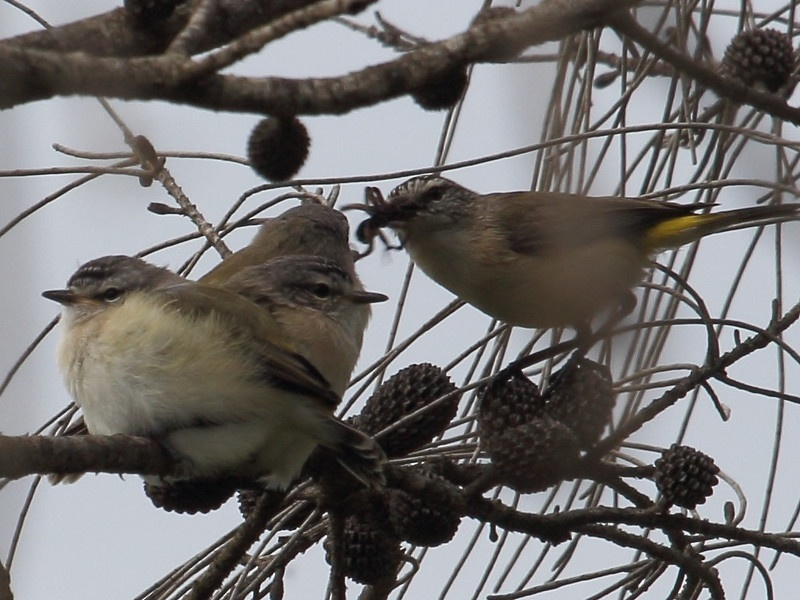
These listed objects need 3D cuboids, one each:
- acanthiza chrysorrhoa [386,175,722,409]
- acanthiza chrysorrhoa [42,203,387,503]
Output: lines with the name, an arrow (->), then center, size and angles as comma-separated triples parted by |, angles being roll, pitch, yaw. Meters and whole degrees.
acanthiza chrysorrhoa -> 0.772, -0.195, 6.247 | 1.578, 0.427, 0.778 | -8, -102, -5
acanthiza chrysorrhoa -> -0.675, 0.265, 5.875 | 0.718, 1.152, 1.075 | -36, -114, 51
